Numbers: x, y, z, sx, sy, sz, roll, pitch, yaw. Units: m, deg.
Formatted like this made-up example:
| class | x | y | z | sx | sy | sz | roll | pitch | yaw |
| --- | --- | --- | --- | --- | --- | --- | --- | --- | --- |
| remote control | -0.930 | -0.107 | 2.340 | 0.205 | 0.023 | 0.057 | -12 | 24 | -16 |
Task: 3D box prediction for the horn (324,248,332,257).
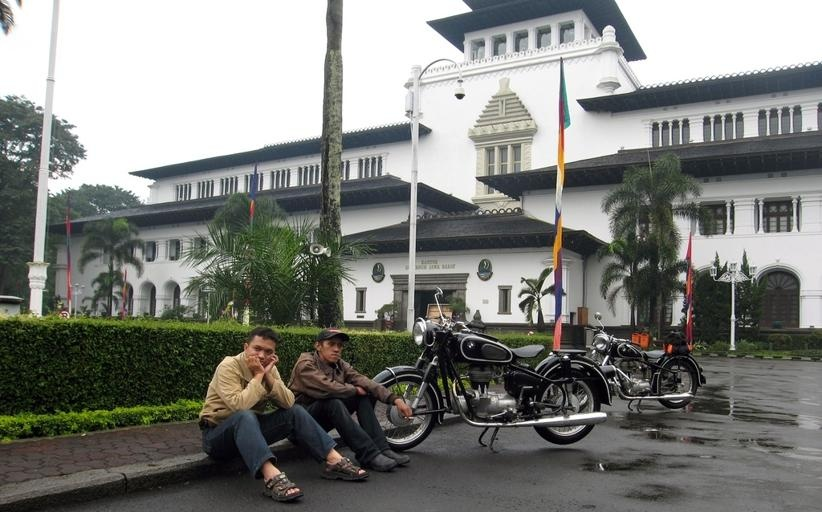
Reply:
| class | x | y | z | sx | sy | sz | roll | pitch | yaw |
| --- | --- | --- | --- | --- | --- | --- | --- | --- | --- |
| horn | -2.169 | -0.133 | 19.861 | 0.090 | 0.247 | 0.302 | 5 | 9 | 22 |
